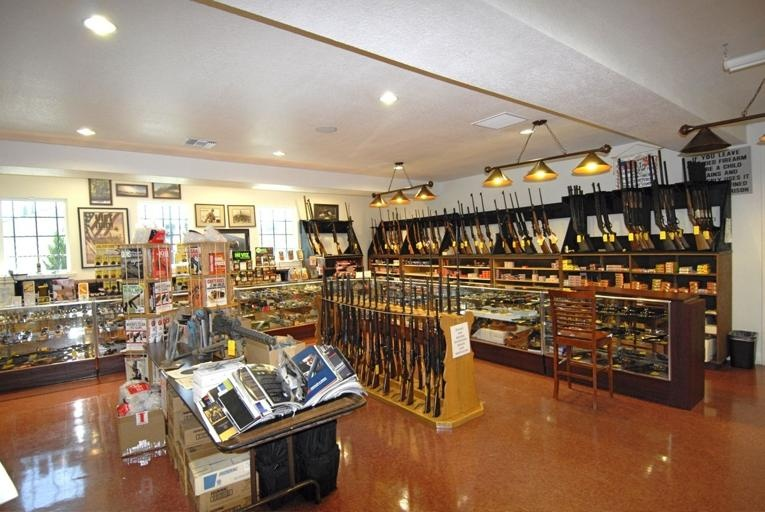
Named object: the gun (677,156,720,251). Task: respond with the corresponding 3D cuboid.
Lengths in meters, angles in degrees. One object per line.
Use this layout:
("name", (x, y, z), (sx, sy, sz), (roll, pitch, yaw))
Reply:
("gun", (5.130, -0.864, 7.815), (0.390, 1.049, 0.617), (-3, 1, 32))

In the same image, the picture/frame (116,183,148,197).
("picture/frame", (-5.051, -1.323, 9.638), (0.592, 0.311, 0.040), (-4, 1, -29))

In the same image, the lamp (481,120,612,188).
("lamp", (2.377, -1.587, 7.299), (0.497, 0.911, 2.221), (-3, 2, -37))

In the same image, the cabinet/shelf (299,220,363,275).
("cabinet/shelf", (-1.224, -0.156, 11.932), (0.567, 1.368, 1.558), (-3, 1, 37))

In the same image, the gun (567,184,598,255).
("gun", (3.730, -0.596, 9.054), (0.454, 1.436, 0.302), (-3, -6, 41))

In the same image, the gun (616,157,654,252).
("gun", (4.345, -0.861, 8.436), (0.397, 1.839, 0.569), (-2, -8, -5))

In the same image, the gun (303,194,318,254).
("gun", (-1.768, -0.742, 11.614), (0.337, 1.378, 0.532), (-4, 1, -9))

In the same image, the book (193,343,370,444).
("book", (-0.940, 1.218, 4.407), (1.260, 0.414, 0.862), (-2, 6, -33))

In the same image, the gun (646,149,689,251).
("gun", (4.799, -0.921, 8.085), (0.290, 1.713, 0.549), (3, -8, -41))

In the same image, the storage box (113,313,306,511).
("storage box", (-1.780, 1.433, 5.547), (1.794, 1.499, 3.289), (-1, 4, -35))

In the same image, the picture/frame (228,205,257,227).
("picture/frame", (-3.223, -0.905, 10.851), (0.565, 0.387, 0.057), (0, -1, -44))

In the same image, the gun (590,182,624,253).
("gun", (4.110, -0.710, 8.764), (0.383, 1.362, 0.049), (-13, -32, 29))

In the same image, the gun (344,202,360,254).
("gun", (-0.829, -0.726, 12.436), (0.320, 1.447, 0.074), (-23, -19, 20))

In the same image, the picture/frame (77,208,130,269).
("picture/frame", (-5.379, -0.349, 9.272), (0.979, 1.216, 0.047), (-1, 3, 5))

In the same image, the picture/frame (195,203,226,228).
("picture/frame", (-3.775, -0.875, 10.365), (0.822, 0.582, 0.031), (0, 1, -35))

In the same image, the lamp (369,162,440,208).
("lamp", (0.352, -1.448, 9.694), (1.671, 0.780, 0.469), (-3, 2, 43))

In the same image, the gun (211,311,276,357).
("gun", (-1.564, 0.832, 5.272), (1.094, 0.348, 0.279), (10, 18, 35))
